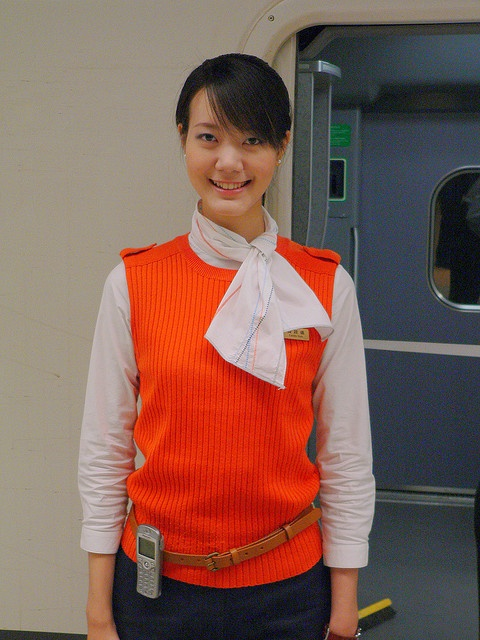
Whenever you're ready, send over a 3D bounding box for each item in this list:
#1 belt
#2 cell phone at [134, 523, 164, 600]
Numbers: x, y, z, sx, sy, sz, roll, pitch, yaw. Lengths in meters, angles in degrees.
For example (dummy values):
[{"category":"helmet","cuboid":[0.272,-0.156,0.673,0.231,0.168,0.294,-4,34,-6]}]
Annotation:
[{"category":"belt","cuboid":[0.006,0.450,1.626,0.211,0.037,0.162,-22,5,-16]},{"category":"cell phone","cuboid":[-0.182,0.475,1.605,0.061,0.138,0.023,3,1,20]}]
